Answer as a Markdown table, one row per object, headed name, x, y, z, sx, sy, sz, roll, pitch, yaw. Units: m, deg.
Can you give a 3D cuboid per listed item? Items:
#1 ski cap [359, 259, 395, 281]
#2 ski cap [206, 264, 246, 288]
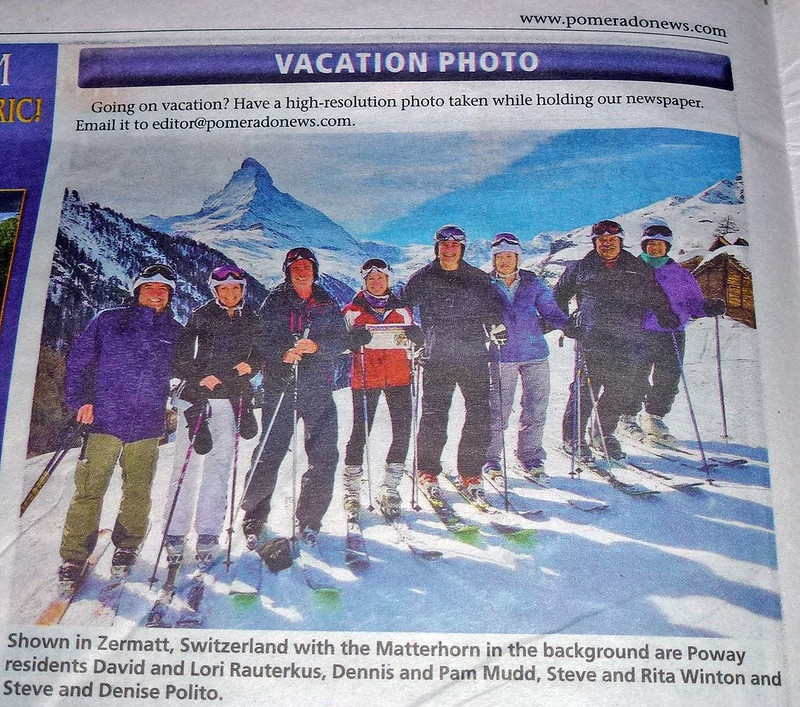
| name | x | y | z | sx | sy | sz | roll | pitch | yaw |
| --- | --- | --- | --- | --- | --- | --- | --- | --- | --- |
| ski cap | -0.111 | -0.379 | 3.666 | 0.113 | 0.099 | 0.053 | 0 | 17 | 2 |
| ski cap | -0.779 | -0.347 | 3.647 | 0.115 | 0.114 | 0.066 | 1 | 36 | -24 |
